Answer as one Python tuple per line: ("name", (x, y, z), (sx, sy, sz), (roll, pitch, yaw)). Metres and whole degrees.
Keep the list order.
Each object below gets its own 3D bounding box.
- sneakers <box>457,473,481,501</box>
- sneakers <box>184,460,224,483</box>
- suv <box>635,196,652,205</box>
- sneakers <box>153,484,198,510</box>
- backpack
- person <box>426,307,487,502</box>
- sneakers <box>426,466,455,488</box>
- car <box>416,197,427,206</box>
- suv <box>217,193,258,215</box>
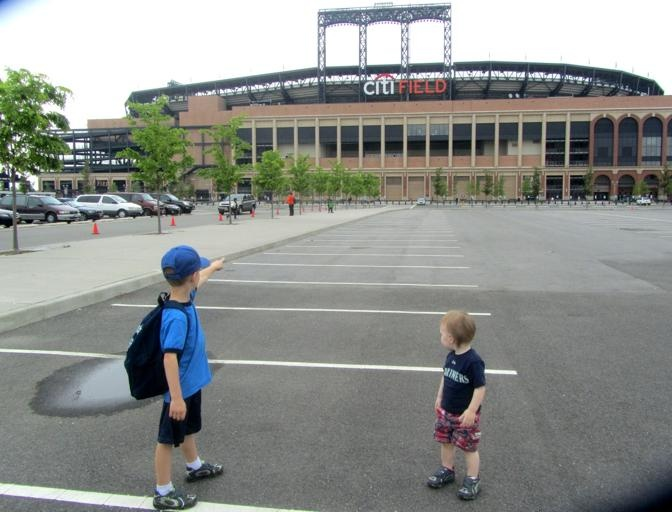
("sneakers", (1.068, 1.866, 4.841), (0.096, 0.114, 0.247), (-10, -19, 29))
("sneakers", (-1.106, 1.813, 5.049), (0.297, 0.156, 0.135), (-3, 3, -17))
("suv", (41.022, -7.437, 80.585), (1.482, 1.316, 2.661), (1, 13, 13))
("sneakers", (-1.274, 1.892, 4.740), (0.296, 0.167, 0.161), (1, -2, -6))
("backpack", (-1.416, 0.717, 4.860), (0.424, 0.830, 0.544), (8, 4, 1))
("person", (0.970, 1.188, 4.895), (0.436, 1.462, 0.334), (2, 8, 20))
("sneakers", (0.863, 1.826, 4.969), (0.253, 0.131, 0.106), (10, -16, -40))
("car", (11.972, -7.630, 84.795), (1.209, 1.086, 2.950), (-2, 4, 12))
("suv", (-7.572, -4.128, 46.089), (1.986, 1.690, 3.897), (-2, 1, 17))
